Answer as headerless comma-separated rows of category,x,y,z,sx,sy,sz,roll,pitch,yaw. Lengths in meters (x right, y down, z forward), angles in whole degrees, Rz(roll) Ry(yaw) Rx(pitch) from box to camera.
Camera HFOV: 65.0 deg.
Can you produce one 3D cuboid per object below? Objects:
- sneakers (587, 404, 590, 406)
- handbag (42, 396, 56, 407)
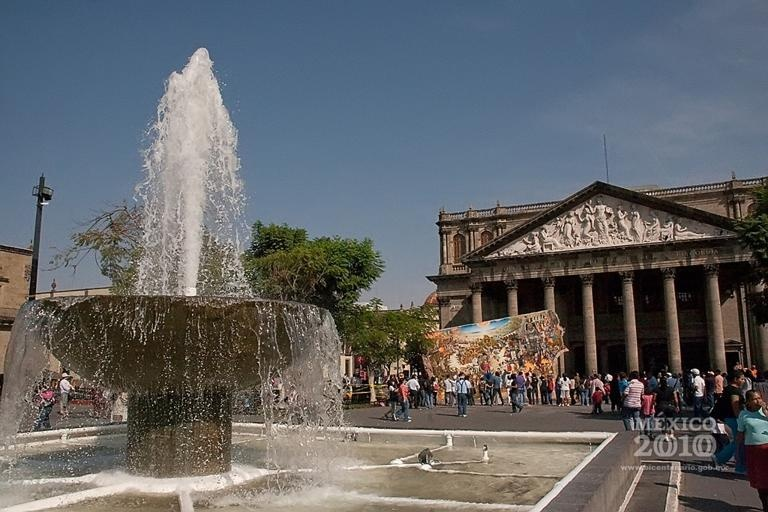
sneakers,11.129,8.172,33.105,0.134,0.091,0.070,1,-2,-5
handbag,-10.230,4.447,18.427,0.262,0.205,1.202,3,-13,-21
